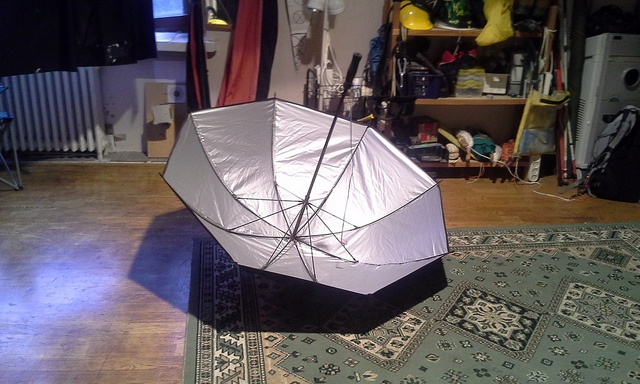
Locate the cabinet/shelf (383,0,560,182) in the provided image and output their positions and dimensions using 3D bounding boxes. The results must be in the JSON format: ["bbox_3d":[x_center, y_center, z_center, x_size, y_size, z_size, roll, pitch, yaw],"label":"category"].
[{"bbox_3d":[1.551,-1.093,4.486,2.199,1.878,0.701,-1,30,0],"label":"cabinet/shelf"}]

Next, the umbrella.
[{"bbox_3d":[0.031,0.014,3.685,2.163,1.958,1.326,-1,33,17],"label":"umbrella"}]
